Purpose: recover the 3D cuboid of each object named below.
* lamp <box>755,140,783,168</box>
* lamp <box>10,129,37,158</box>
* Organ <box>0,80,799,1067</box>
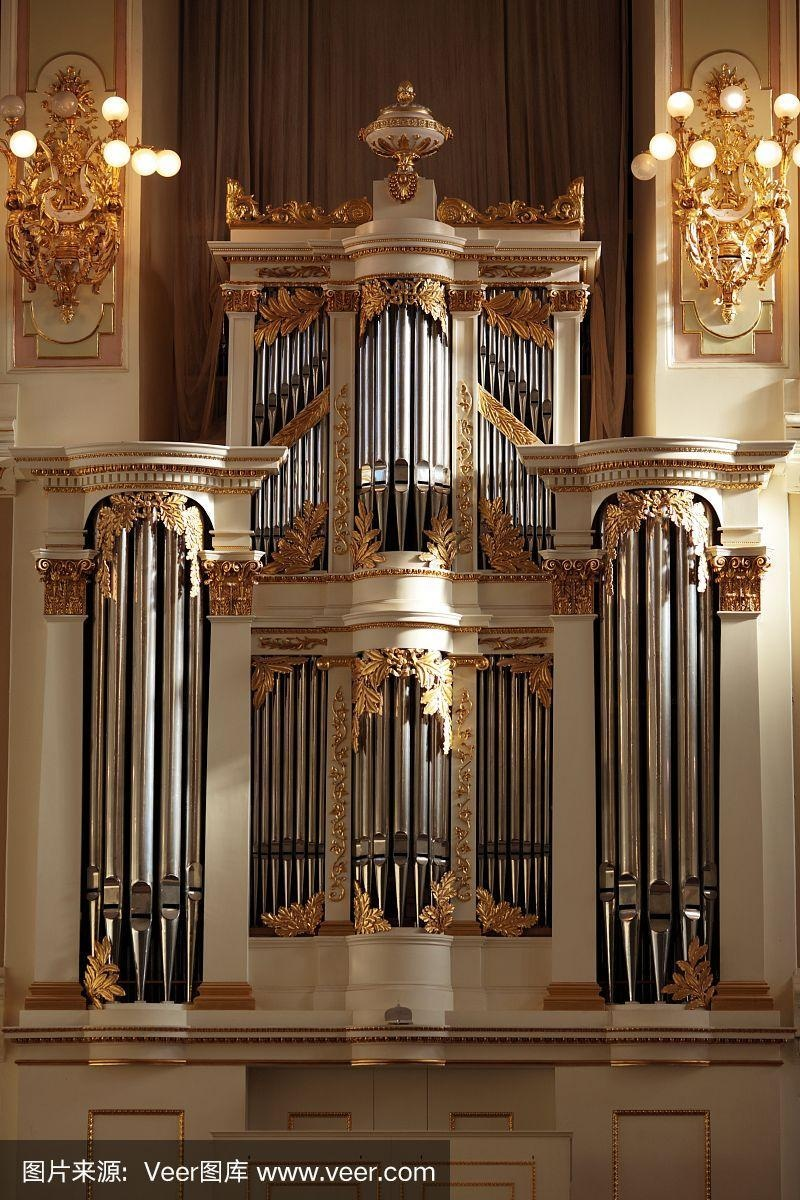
[{"bbox_3d":[1.853,-2.208,11.435,0.073,0.157,0.130,0,26,-40],"label":"lamp"},{"bbox_3d":[-1.864,-2.301,11.428,0.113,0.172,0.087,4,-5,2],"label":"lamp"},{"bbox_3d":[0.001,0.029,11.347,3.242,6.179,1.119,0,-10,1],"label":"Organ"}]
